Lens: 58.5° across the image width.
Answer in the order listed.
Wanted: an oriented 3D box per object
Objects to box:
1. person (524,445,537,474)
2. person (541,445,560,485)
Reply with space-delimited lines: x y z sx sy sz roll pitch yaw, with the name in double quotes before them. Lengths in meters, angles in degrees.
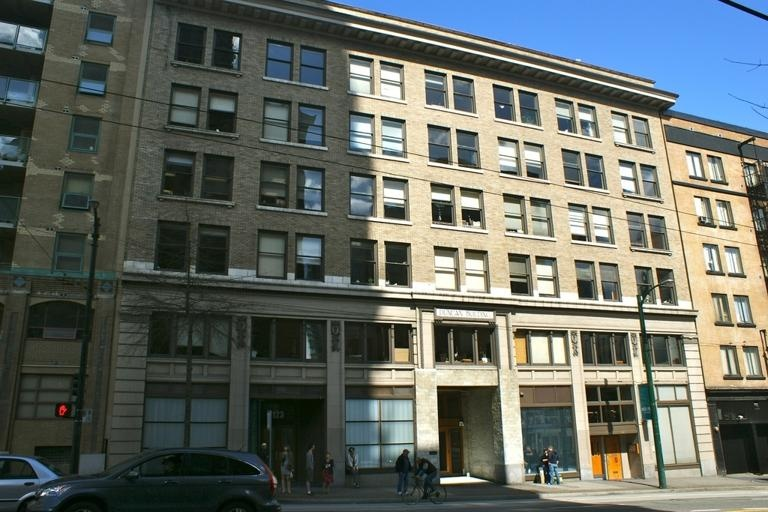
"person" 9.304 12.802 43.326 1.006 1.731 0.242 12 -24 -29
"person" 10.289 12.935 42.434 0.947 2.201 1.055 -16 -26 36
